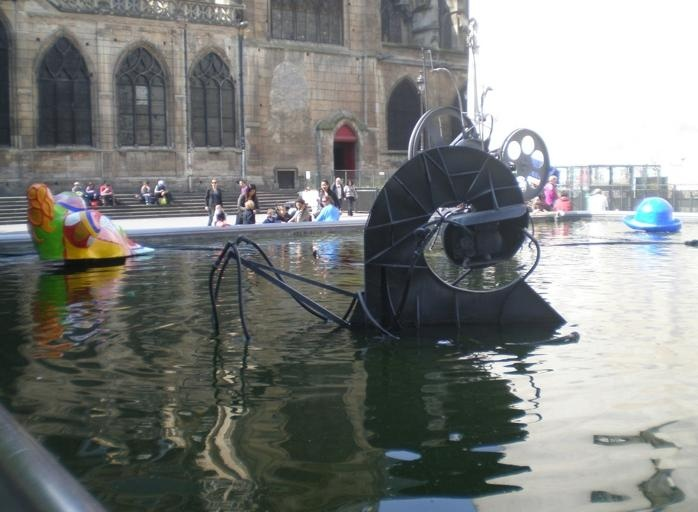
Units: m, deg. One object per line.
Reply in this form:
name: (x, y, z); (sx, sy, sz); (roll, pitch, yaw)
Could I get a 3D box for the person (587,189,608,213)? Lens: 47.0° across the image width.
person: (9.983, -2.251, 32.986); (0.878, 1.094, 1.123); (0, -4, 15)

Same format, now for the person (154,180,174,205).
person: (-8.874, -2.954, 38.148); (0.809, 0.920, 1.154); (-6, 11, -28)
